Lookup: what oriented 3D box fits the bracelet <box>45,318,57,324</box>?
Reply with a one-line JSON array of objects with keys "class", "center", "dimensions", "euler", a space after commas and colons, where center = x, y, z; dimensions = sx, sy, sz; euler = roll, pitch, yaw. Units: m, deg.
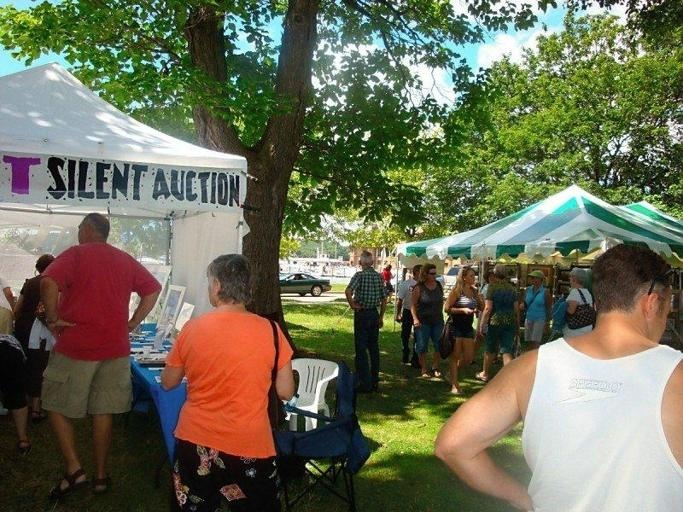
[{"class": "bracelet", "center": [-2.341, 0.528, 4.306], "dimensions": [0.107, 0.036, 0.066], "euler": [1, -2, 30]}]

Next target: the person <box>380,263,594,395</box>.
[{"class": "person", "center": [1.910, 1.062, 7.859], "dimensions": [2.060, 1.419, 0.564], "euler": [0, 7, 6]}]

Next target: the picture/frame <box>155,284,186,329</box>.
[{"class": "picture/frame", "center": [-1.966, 0.590, 6.202], "dimensions": [0.046, 0.656, 0.574], "euler": [25, -28, -22]}]

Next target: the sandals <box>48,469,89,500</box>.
[{"class": "sandals", "center": [-2.304, 1.898, 4.508], "dimensions": [0.353, 0.158, 0.187], "euler": [-25, -7, 20]}]

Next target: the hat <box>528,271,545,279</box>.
[{"class": "hat", "center": [3.156, 0.315, 8.720], "dimensions": [0.236, 0.107, 0.319], "euler": [-3, -6, 28]}]

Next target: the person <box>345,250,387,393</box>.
[{"class": "person", "center": [0.368, 0.981, 7.932], "dimensions": [0.409, 2.079, 0.764], "euler": [0, -2, 40]}]

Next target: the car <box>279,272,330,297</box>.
[{"class": "car", "center": [-2.062, 1.682, 30.360], "dimensions": [2.953, 0.982, 1.317], "euler": [5, -6, -25]}]

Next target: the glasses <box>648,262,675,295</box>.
[{"class": "glasses", "center": [1.290, 0.098, 2.170], "dimensions": [0.033, 0.118, 0.113], "euler": [21, -21, -19]}]
